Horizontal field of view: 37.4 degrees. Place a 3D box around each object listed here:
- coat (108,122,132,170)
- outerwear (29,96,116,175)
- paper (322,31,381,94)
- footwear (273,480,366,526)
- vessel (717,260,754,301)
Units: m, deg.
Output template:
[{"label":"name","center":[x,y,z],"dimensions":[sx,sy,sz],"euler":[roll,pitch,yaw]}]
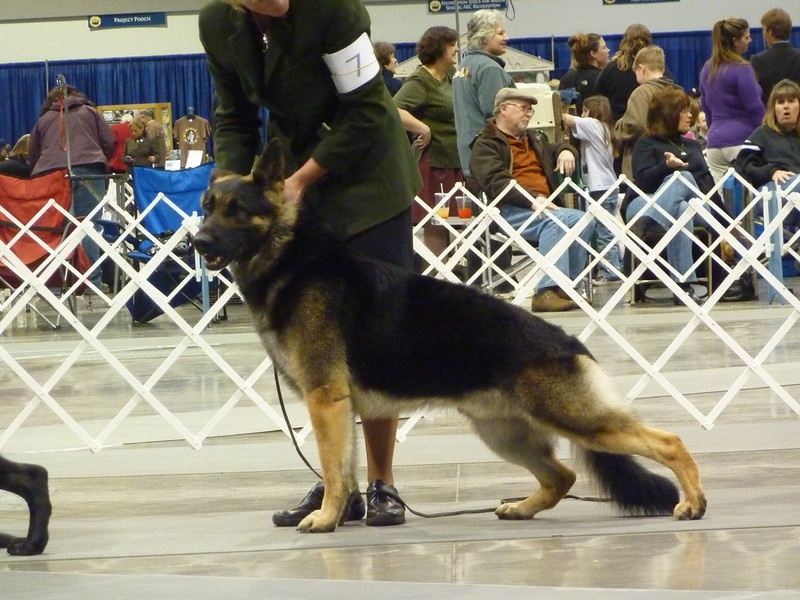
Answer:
[{"label":"coat","center":[-3.959,-2.625,20.245],"dimensions":[0.277,0.750,0.345],"euler":[11,11,11]},{"label":"outerwear","center":[-3.389,-2.091,14.912],"dimensions":[0.858,0.946,0.521],"euler":[-5,1,-9]},{"label":"paper","center":[-0.241,-1.340,6.788],"dimensions":[0.282,0.248,0.299],"euler":[-37,23,-34]},{"label":"footwear","center":[-0.419,1.187,6.926],"dimensions":[0.487,0.216,0.164],"euler":[-2,-1,-32]},{"label":"vessel","center":[2.957,-0.179,13.117],"dimensions":[0.311,0.356,0.278],"euler":[1,9,13]}]
